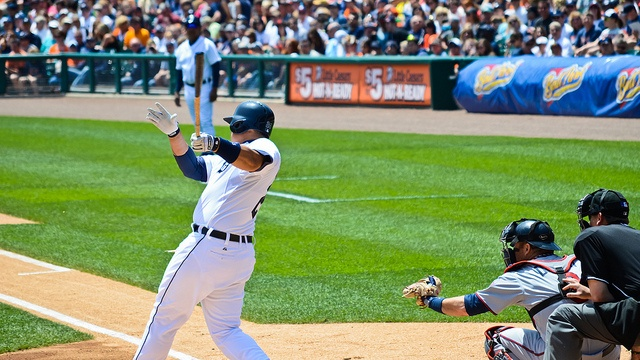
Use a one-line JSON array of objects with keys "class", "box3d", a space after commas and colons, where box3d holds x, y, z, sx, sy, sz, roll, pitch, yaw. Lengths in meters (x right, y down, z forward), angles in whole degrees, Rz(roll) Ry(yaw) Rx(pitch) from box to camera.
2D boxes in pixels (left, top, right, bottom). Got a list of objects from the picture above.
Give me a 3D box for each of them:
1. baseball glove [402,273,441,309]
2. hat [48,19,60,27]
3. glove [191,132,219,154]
[{"class": "baseball glove", "box3d": [1.866, 1.887, 20.701, 0.634, 0.282, 0.479, -33, 17, -31]}, {"class": "hat", "box3d": [-7.815, -4.484, 34.215, 0.363, 0.179, 0.438, -1, 8, -10]}, {"class": "glove", "box3d": [-2.003, -0.632, 20.316, 0.521, 0.334, 0.284, 0, 3, 3]}]
